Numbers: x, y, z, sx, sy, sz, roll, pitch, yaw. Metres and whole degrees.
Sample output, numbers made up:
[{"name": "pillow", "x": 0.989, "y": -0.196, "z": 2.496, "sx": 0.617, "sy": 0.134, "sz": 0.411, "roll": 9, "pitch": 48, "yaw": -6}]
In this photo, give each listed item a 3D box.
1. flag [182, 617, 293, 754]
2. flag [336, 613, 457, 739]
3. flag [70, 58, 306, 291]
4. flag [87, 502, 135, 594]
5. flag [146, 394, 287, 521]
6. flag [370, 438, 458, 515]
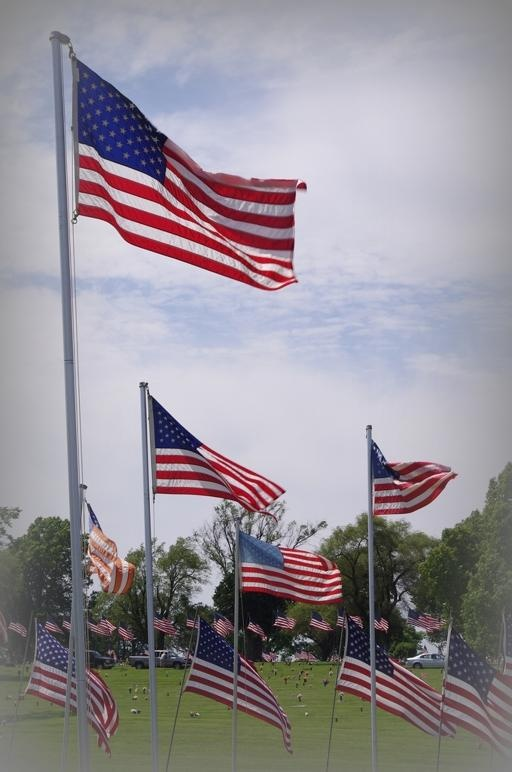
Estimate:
[{"name": "flag", "x": -0.307, "y": 7.012, "z": 39.093, "sx": 2.300, "sy": 3.295, "sz": 2.186, "roll": 0, "pitch": -13, "yaw": -9}, {"name": "flag", "x": 3.826, "y": 7.082, "z": 40.055, "sx": 2.698, "sy": 3.023, "sz": 2.531, "roll": 0, "pitch": -21, "yaw": -25}, {"name": "flag", "x": -1.483, "y": -4.024, "z": 31.718, "sx": 4.573, "sy": 3.881, "sz": 0.596, "roll": 5, "pitch": -6, "yaw": -23}, {"name": "flag", "x": -3.542, "y": 3.946, "z": 39.945, "sx": 1.134, "sy": 2.074, "sz": 2.768, "roll": 4, "pitch": -6, "yaw": -6}, {"name": "flag", "x": -0.994, "y": 1.460, "z": 36.978, "sx": 3.200, "sy": 3.090, "sz": 0.264, "roll": 7, "pitch": -40, "yaw": -20}, {"name": "flag", "x": 3.793, "y": 2.182, "z": 40.945, "sx": 1.979, "sy": 2.055, "sz": 0.219, "roll": -6, "pitch": -28, "yaw": 10}]
